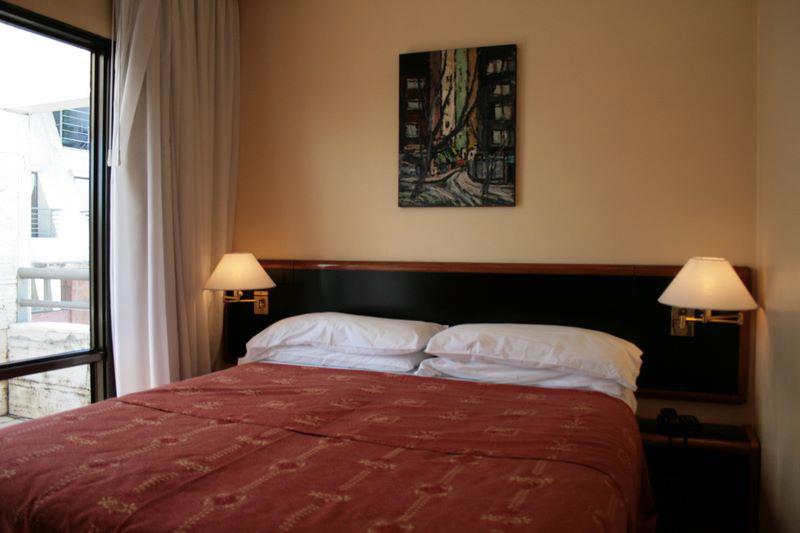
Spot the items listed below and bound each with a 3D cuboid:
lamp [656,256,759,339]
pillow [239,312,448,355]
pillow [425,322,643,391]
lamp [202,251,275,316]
[{"bbox_3d":[1.843,0.199,3.442,0.541,0.477,0.482,-4,9,-19],"label":"lamp"},{"bbox_3d":[-0.355,0.438,3.773,0.736,0.180,0.487,0,-1,18],"label":"pillow"},{"bbox_3d":[0.801,0.469,3.409,0.843,0.176,0.543,0,4,18],"label":"pillow"},{"bbox_3d":[-1.075,0.084,4.148,0.448,0.456,0.451,1,8,8],"label":"lamp"}]
